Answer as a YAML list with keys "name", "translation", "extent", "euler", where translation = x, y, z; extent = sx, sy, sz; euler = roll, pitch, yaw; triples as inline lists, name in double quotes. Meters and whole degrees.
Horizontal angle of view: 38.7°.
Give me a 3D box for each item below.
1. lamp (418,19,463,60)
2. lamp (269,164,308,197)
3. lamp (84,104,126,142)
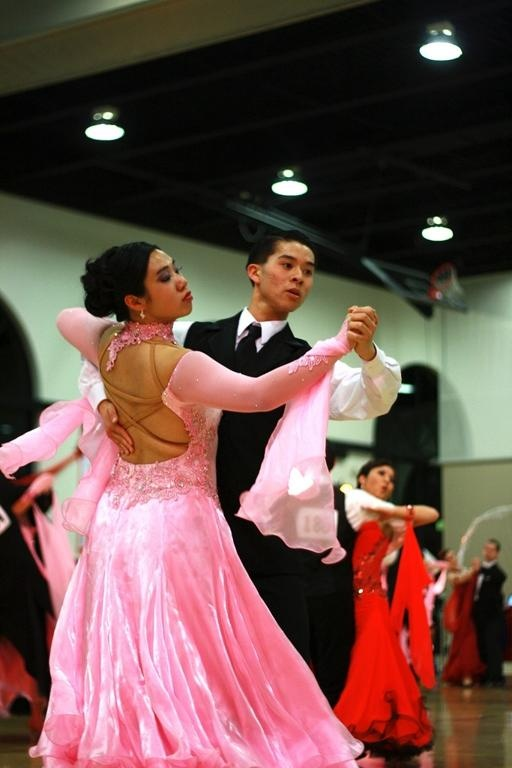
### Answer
- name: "lamp"
  translation: [0.831, -1.552, 3.309]
  extent: [0.185, 0.150, 0.165]
  euler: [1, -1, 15]
- name: "lamp"
  translation: [0.176, -1.074, 3.933]
  extent: [0.219, 0.154, 0.062]
  euler: [1, 0, -40]
- name: "lamp"
  translation: [-0.835, -1.425, 3.982]
  extent: [0.170, 0.097, 0.157]
  euler: [1, -16, -4]
